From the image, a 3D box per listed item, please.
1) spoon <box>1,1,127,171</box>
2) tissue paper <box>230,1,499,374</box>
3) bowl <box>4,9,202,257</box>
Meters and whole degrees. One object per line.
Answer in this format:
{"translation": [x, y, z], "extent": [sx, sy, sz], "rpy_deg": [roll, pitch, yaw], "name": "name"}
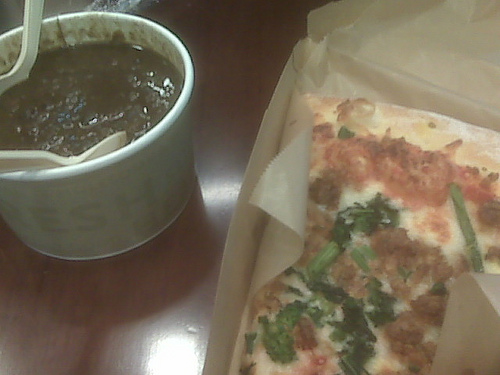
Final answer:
{"translation": [-0.320, -0.125, 0.968], "extent": [0.178, 0.100, 0.289], "rpy_deg": [-4, 73, -17], "name": "spoon"}
{"translation": [0.192, -0.038, 1.011], "extent": [0.349, 0.090, 0.646], "rpy_deg": [23, 88, 2], "name": "tissue paper"}
{"translation": [-0.245, -0.101, 1.080], "extent": [0.357, 0.238, 0.398], "rpy_deg": [7, 71, -2], "name": "bowl"}
